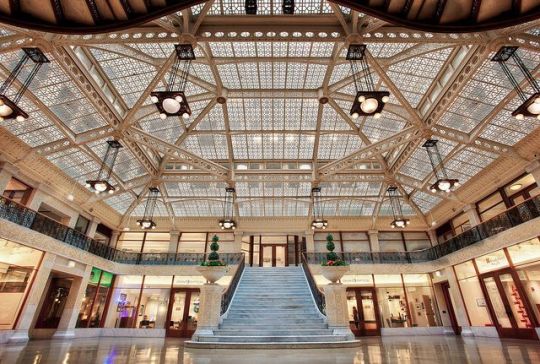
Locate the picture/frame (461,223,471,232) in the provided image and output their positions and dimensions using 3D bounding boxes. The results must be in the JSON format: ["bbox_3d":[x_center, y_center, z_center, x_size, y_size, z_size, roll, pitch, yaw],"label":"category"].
[{"bbox_3d":[13.106,3.087,19.667,0.279,0.570,0.805,8,-16,-15],"label":"picture/frame"}]
